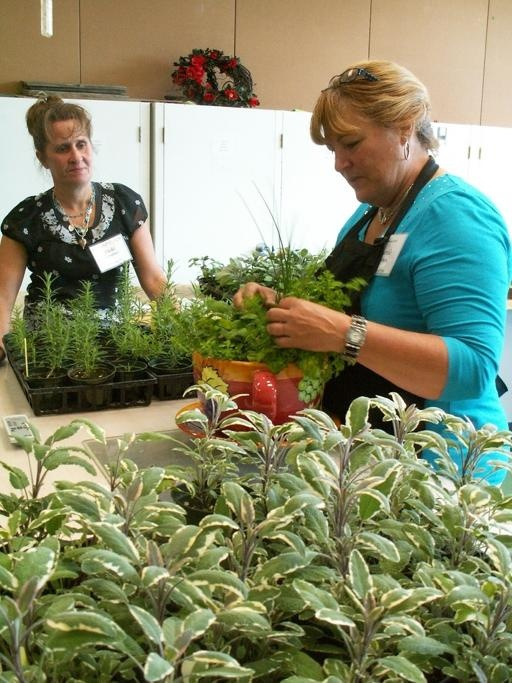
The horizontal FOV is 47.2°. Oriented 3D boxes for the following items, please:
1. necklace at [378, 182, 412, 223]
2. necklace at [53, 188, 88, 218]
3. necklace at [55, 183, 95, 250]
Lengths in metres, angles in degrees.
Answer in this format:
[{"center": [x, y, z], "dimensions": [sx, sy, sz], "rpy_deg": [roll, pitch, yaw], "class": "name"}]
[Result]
[{"center": [0.346, -0.335, 1.464], "dimensions": [0.052, 0.057, 0.049], "rpy_deg": [6, 8, -25], "class": "necklace"}, {"center": [-0.736, -0.561, 2.368], "dimensions": [0.128, 0.078, 0.126], "rpy_deg": [-2, 20, -10], "class": "necklace"}, {"center": [-0.700, -0.492, 2.342], "dimensions": [0.137, 0.210, 0.039], "rpy_deg": [-14, -20, -21], "class": "necklace"}]
